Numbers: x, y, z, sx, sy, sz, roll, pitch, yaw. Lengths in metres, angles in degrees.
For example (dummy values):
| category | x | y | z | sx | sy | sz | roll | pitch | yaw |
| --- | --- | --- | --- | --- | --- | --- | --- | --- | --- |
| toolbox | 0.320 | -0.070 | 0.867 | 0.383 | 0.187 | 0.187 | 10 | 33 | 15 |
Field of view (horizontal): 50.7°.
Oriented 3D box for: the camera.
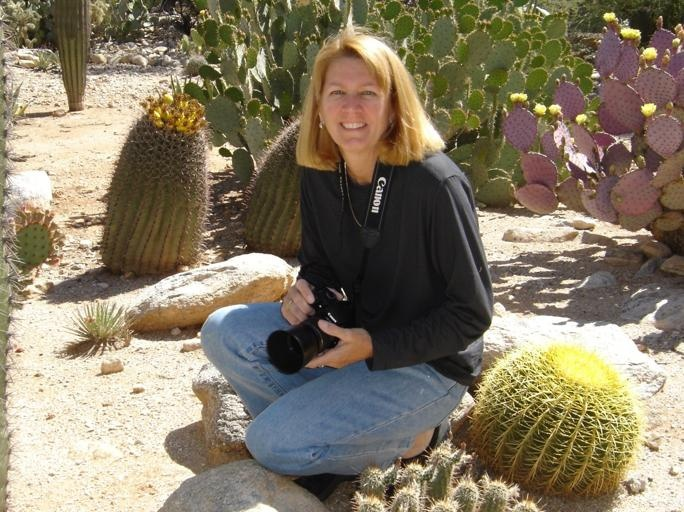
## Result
| category | x | y | z | sx | sy | sz | roll | pitch | yaw |
| --- | --- | --- | --- | --- | --- | --- | --- | --- | --- |
| camera | -0.128 | 0.316 | 3.411 | 0.493 | 0.273 | 0.430 | -10 | 14 | 12 |

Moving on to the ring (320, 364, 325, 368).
| category | x | y | z | sx | sy | sz | roll | pitch | yaw |
| --- | --- | --- | --- | --- | --- | --- | --- | --- | --- |
| ring | -0.101 | 0.566 | 3.702 | 0.026 | 0.010 | 0.036 | 1 | 4 | 21 |

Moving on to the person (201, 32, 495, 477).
| category | x | y | z | sx | sy | sz | roll | pitch | yaw |
| --- | --- | --- | --- | --- | --- | --- | --- | --- | --- |
| person | 0.065 | 0.023 | 3.439 | 1.311 | 2.114 | 0.883 | 10 | 20 | 17 |
